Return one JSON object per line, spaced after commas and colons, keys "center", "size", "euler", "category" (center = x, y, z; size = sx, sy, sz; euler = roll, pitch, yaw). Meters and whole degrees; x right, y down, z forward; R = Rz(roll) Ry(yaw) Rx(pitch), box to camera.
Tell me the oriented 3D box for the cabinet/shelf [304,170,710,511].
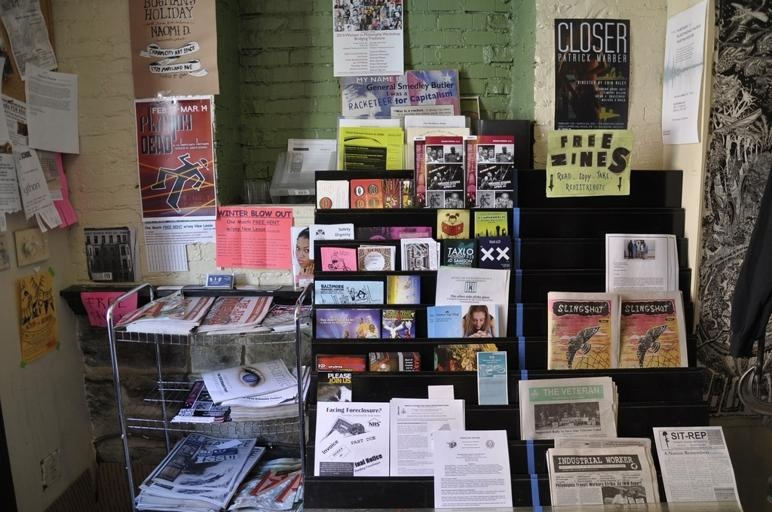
{"center": [0.565, 0.344, 2.960], "size": [1.812, 1.412, 0.661], "euler": [-4, 14, -7], "category": "cabinet/shelf"}
